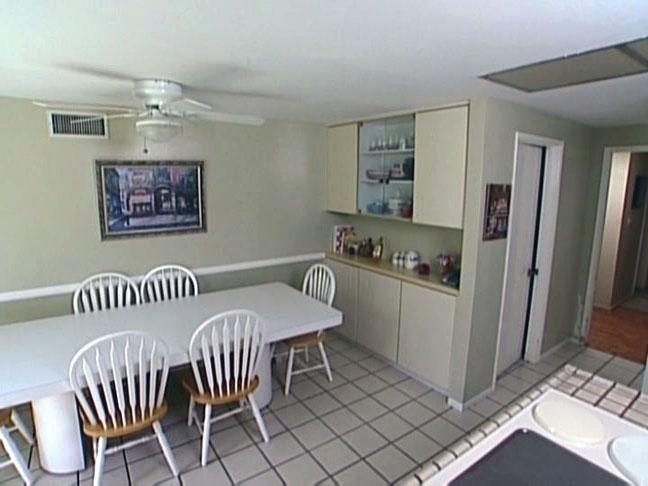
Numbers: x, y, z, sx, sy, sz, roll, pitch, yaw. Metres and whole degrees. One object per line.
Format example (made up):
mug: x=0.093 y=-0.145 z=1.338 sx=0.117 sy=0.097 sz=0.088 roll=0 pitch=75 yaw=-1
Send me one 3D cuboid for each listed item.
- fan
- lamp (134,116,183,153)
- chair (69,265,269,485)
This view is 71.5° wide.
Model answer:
fan: x=-1.276 y=-1.079 z=3.642 sx=1.900 sy=0.328 sz=1.330 roll=10 pitch=18 yaw=41
lamp: x=-1.131 y=-0.780 z=3.094 sx=0.239 sy=0.168 sz=0.208 roll=6 pitch=15 yaw=30
chair: x=-1.322 y=0.937 z=3.769 sx=1.364 sy=1.214 sz=1.546 roll=-10 pitch=15 yaw=-29
